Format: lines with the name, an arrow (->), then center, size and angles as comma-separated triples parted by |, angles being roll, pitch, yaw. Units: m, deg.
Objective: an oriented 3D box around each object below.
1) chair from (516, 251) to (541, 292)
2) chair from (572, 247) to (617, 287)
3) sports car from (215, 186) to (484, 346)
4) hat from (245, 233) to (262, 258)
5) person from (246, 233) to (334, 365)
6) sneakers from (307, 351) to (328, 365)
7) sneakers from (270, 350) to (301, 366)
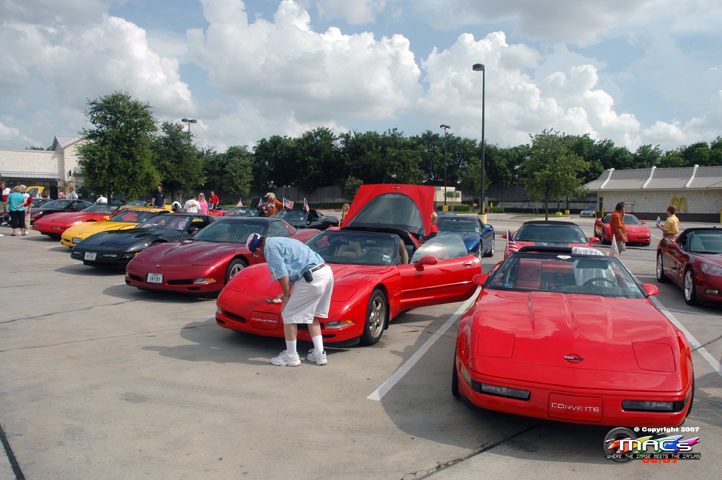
chair -> 2.276, 0.454, 6.579 | 0.307, 0.467, 0.415 | 5, -16, 20
chair -> 3.150, 0.383, 6.594 | 0.469, 0.219, 0.757 | 2, 4, 19
sports car -> 0.116, 0.451, 8.364 | 2.986, 1.731, 4.107 | 1, 2, 38
hat -> -1.440, 0.072, 6.614 | 0.200, 0.309, 0.404 | -1, 10, -11
person -> -0.915, 0.820, 6.650 | 1.033, 1.761, 0.423 | 0, 11, -6
sneakers -> -0.621, 1.613, 6.793 | 0.145, 0.137, 0.325 | -9, 13, -30
sneakers -> -1.021, 1.609, 6.679 | 0.411, 0.178, 0.175 | 3, 3, 12
